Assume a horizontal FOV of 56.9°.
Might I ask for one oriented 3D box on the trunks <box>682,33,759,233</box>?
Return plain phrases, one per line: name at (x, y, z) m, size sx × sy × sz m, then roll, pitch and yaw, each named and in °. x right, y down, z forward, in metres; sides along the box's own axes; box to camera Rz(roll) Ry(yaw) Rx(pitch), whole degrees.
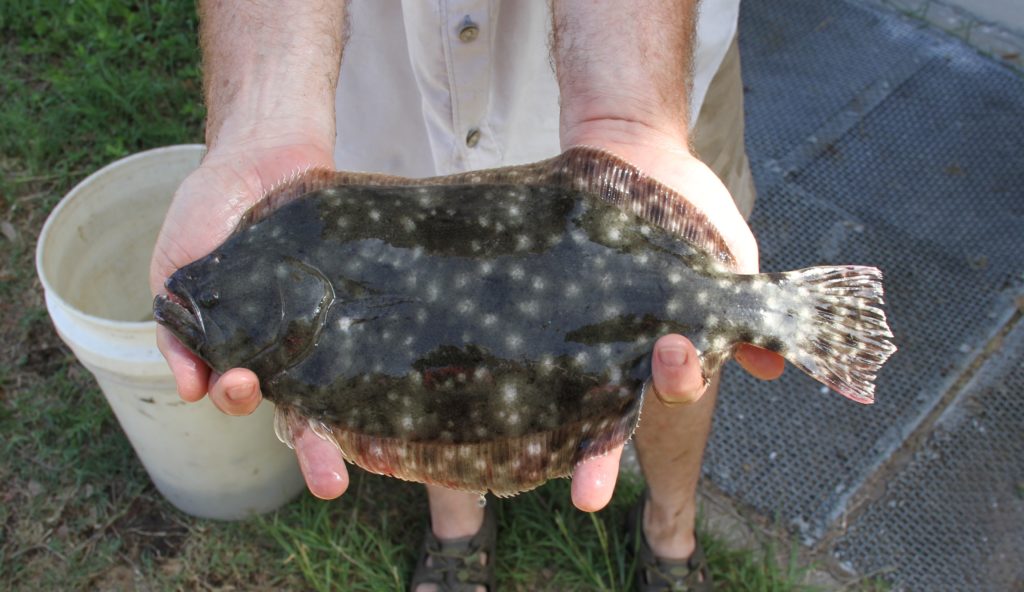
trunks at (1.311, -1.045, 6.211) m, size 0.420 × 1.780 × 0.211 m, roll -6°, pitch 60°, yaw 4°
